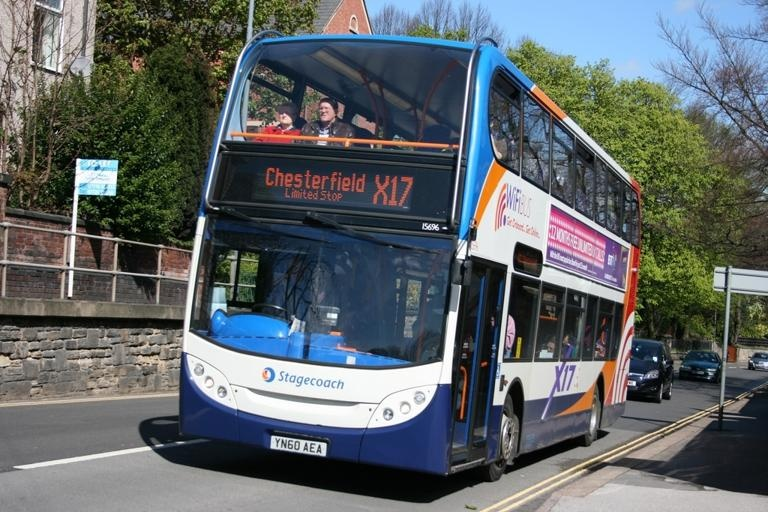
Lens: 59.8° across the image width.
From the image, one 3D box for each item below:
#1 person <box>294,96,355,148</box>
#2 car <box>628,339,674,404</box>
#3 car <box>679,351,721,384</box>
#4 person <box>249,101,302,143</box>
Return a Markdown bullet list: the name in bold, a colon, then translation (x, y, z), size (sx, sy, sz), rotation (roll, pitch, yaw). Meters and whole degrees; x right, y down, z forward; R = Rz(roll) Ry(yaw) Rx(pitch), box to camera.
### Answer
- **person**: translation (-0.811, -1.905, 9.571), size (0.764, 0.882, 0.456), rotation (-4, -27, 16)
- **car**: translation (10.792, 4.476, 26.918), size (1.908, 1.693, 3.201), rotation (-3, -12, 23)
- **car**: translation (18.971, 6.623, 40.140), size (2.189, 1.780, 2.185), rotation (4, -5, 26)
- **person**: translation (-1.520, -1.931, 9.671), size (0.342, 0.585, 1.119), rotation (2, 0, 18)
